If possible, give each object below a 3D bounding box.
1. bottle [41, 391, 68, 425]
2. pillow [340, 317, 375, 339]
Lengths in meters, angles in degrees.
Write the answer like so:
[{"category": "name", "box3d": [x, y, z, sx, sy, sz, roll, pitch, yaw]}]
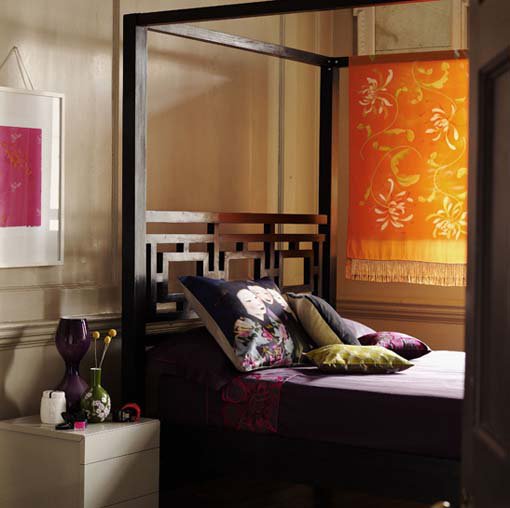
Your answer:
[{"category": "bottle", "box3d": [-0.825, 0.627, 2.130, 0.108, 0.145, 0.123, 1, -5, 5]}, {"category": "pillow", "box3d": [0.579, 0.454, 2.920, 0.145, 0.046, 0.161, 30, 8, -9]}]
